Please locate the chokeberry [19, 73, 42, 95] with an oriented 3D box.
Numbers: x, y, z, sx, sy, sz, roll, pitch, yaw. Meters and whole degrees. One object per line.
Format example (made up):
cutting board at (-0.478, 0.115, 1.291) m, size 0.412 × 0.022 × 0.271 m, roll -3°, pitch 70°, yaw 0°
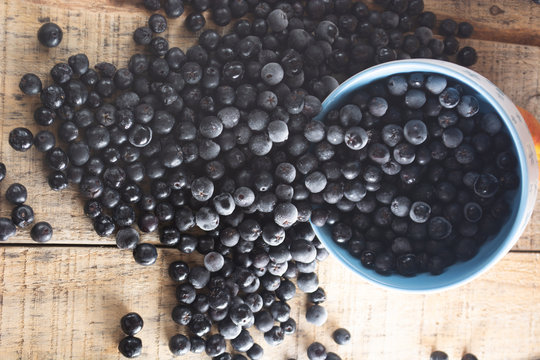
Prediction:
chokeberry at (-1.052, -0.417, 3.305) m, size 0.098 × 0.052 × 0.092 m, roll 11°, pitch 86°, yaw -15°
